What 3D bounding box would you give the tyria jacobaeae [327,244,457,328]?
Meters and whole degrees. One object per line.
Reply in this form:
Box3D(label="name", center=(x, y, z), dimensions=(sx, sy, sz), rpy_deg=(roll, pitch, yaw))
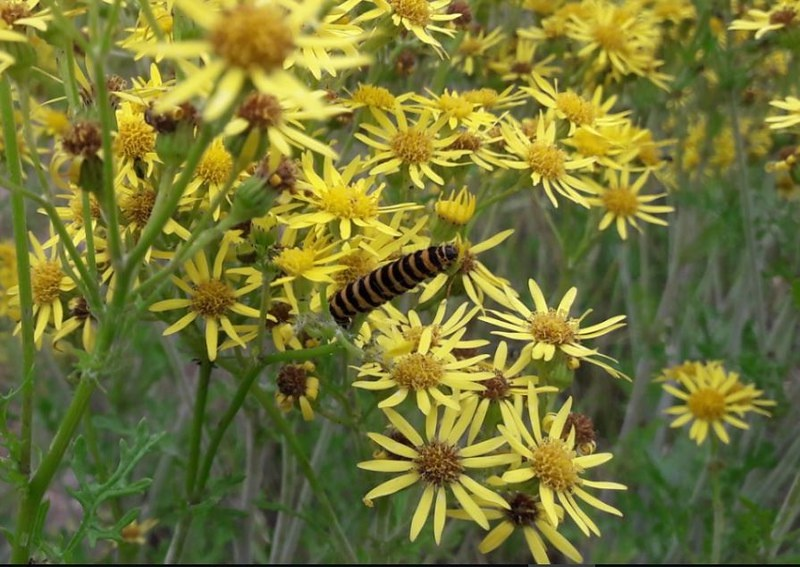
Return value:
Box3D(label="tyria jacobaeae", center=(-0.032, 0.001, 2.513), dimensions=(0.105, 0.302, 0.081), rpy_deg=(60, 32, -6))
